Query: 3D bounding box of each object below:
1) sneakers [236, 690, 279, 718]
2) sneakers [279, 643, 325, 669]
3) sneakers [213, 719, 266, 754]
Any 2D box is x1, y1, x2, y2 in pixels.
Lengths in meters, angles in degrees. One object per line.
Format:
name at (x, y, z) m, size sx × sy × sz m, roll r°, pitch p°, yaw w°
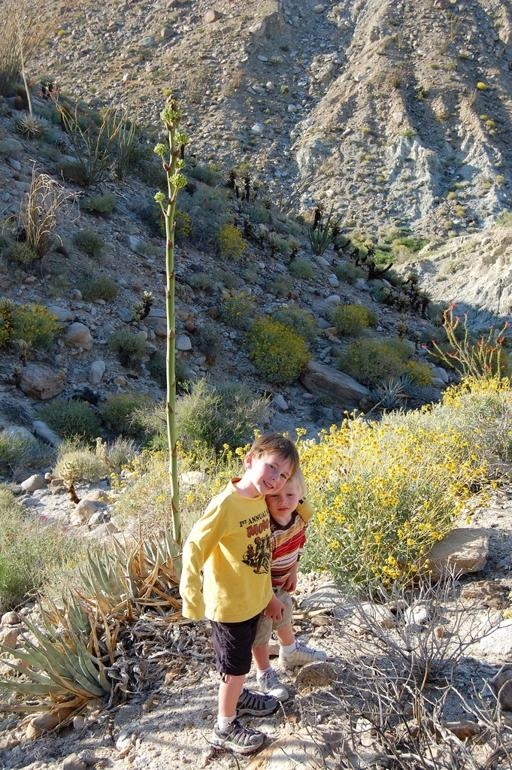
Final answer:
sneakers at (0.003, 1.397, 3.799) m, size 0.215 × 0.099 × 0.074 m, roll -1°, pitch -2°, yaw 4°
sneakers at (0.202, 1.235, 4.031) m, size 0.253 × 0.132 × 0.092 m, roll -4°, pitch 19°, yaw 0°
sneakers at (-0.073, 1.470, 3.673) m, size 0.197 × 0.111 × 0.114 m, roll 1°, pitch 5°, yaw 10°
